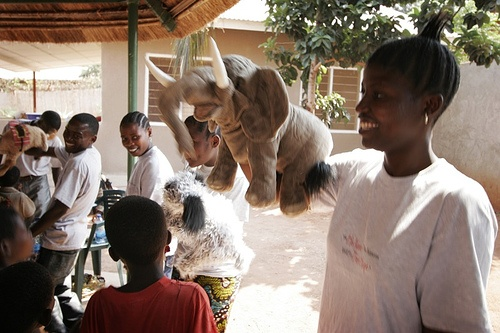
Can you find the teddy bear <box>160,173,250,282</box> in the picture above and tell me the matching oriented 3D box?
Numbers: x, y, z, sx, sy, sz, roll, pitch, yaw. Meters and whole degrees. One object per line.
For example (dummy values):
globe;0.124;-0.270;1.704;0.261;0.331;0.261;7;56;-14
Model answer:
teddy bear;-0.300;0.470;3.228;0.736;0.683;0.481;8;13;6
